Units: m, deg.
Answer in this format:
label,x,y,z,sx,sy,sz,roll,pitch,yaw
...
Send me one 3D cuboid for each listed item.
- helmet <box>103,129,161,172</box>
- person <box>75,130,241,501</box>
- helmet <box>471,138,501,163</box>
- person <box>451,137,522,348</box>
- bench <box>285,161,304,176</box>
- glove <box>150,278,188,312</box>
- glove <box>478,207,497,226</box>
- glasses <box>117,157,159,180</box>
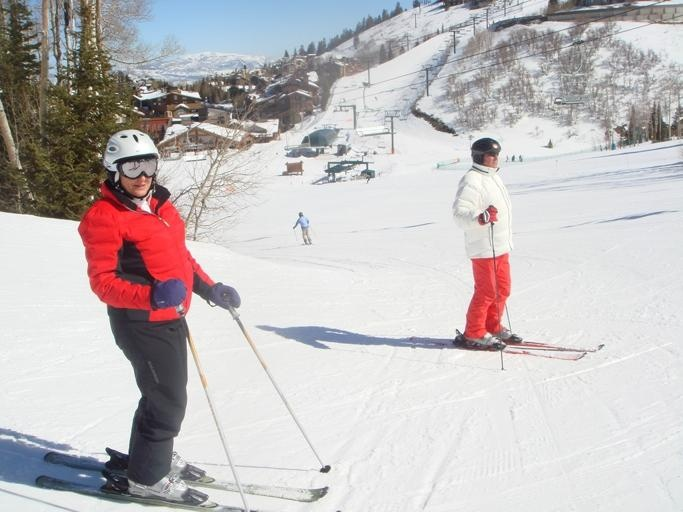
label,x,y,z,sx,sy,sz,roll,pitch,yaw
helmet,-1.525,-0.793,4.799,0.293,0.374,0.295,-6,-4,-30
person,-1.376,0.454,4.909,0.922,2.766,0.790,-8,12,-34
helmet,1.606,-1.191,7.429,0.303,0.276,0.338,0,9,10
person,1.624,-0.133,7.443,0.737,2.366,0.519,-2,10,-6
bench,-3.534,-6.451,48.538,1.698,0.891,0.819,-5,21,7
glove,-1.191,0.243,4.712,0.248,0.234,0.173,-17,18,3
glove,1.550,-0.433,7.026,0.216,0.149,0.096,-20,-7,21
glasses,-1.469,-0.644,4.789,0.192,0.085,0.192,-11,11,-42
